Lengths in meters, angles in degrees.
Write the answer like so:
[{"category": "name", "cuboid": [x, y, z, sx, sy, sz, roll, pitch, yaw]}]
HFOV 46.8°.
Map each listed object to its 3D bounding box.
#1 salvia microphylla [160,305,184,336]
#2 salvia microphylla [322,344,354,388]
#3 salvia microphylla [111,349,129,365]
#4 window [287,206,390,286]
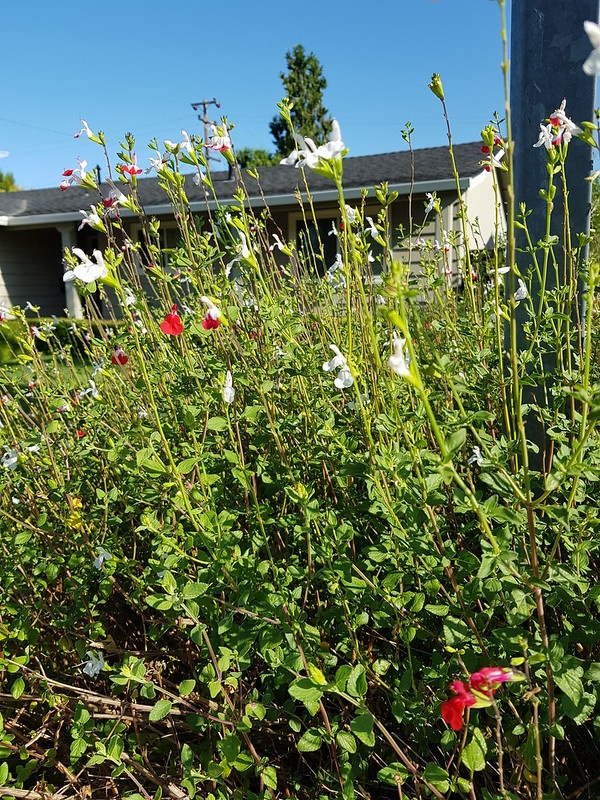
[{"category": "salvia microphylla", "cuboid": [-0.358, -0.212, 1.974, 0.065, 0.034, 0.125, -6, 35, -2]}, {"category": "salvia microphylla", "cuboid": [0.085, -0.068, 1.551, 0.082, 0.109, 0.035, -13, 15, 6]}, {"category": "salvia microphylla", "cuboid": [-0.603, -0.142, 2.309, 0.032, 0.048, 0.062, -46, -22, -9]}, {"category": "window", "cuboid": [0.314, -1.279, 6.125, 0.050, 0.819, 1.260, 22, 28, 34]}]
